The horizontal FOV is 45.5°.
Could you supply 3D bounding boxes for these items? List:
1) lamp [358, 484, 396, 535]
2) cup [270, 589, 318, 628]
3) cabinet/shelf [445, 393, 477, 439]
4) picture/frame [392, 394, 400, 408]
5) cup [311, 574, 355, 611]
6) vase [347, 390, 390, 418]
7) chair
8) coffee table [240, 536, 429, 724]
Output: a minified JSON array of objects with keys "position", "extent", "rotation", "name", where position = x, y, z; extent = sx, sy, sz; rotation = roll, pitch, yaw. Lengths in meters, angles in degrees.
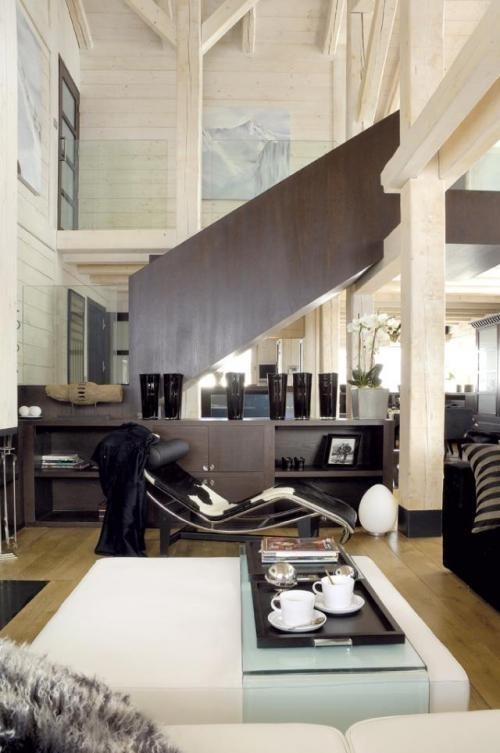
[{"position":[0.901,0.895,4.041],"extent":[0.340,0.336,0.195],"rotation":[1,-2,-36],"name":"lamp"},{"position":[0.108,0.556,1.451],"extent":[0.076,0.068,0.069],"rotation":[-2,3,-5],"name":"cup"},{"position":[2.940,0.561,8.356],"extent":[0.279,0.434,0.587],"rotation":[-1,-1,7],"name":"cabinet/shelf"},{"position":[2.204,0.369,9.016],"extent":[0.084,0.189,0.853],"rotation":[-1,-2,17],"name":"picture/frame"},{"position":[0.211,0.558,1.560],"extent":[0.085,0.072,0.075],"rotation":[-3,-2,15],"name":"cup"},{"position":[0.892,0.212,4.547],"extent":[0.211,0.253,0.227],"rotation":[-1,-4,31],"name":"vase"},{"position":[-0.086,0.700,3.386],"extent":[1.346,0.630,0.642],"rotation":[-1,-3,6],"name":"chair"},{"position":[0.171,0.638,1.403],"extent":[0.383,0.110,0.488],"rotation":[-1,-2,-2],"name":"coffee table"}]
